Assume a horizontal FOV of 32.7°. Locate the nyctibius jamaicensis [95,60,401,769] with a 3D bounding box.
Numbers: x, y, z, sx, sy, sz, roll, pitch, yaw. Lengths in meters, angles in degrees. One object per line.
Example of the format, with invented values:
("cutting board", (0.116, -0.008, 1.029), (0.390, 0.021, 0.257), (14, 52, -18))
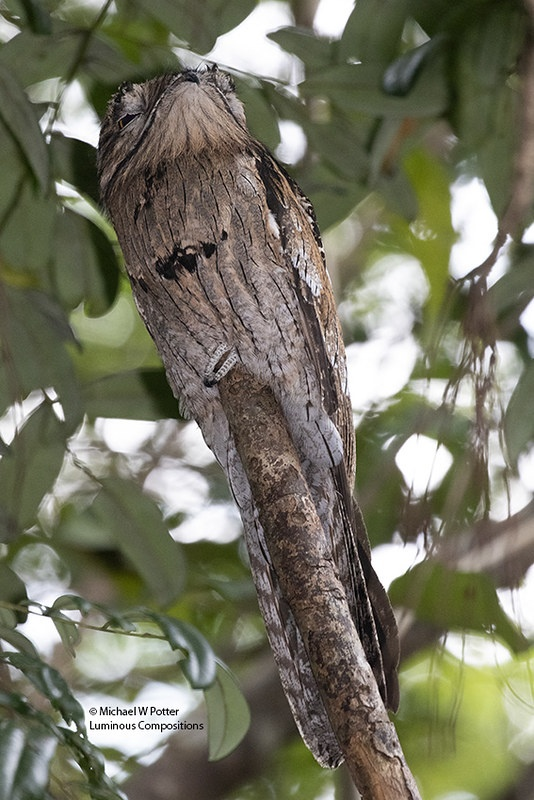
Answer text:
("nyctibius jamaicensis", (-0.227, -0.237, 2.567), (0.651, 2.216, 0.691), (-12, -8, 3))
